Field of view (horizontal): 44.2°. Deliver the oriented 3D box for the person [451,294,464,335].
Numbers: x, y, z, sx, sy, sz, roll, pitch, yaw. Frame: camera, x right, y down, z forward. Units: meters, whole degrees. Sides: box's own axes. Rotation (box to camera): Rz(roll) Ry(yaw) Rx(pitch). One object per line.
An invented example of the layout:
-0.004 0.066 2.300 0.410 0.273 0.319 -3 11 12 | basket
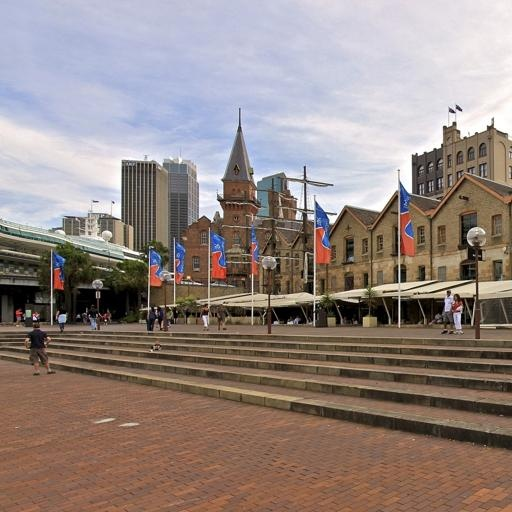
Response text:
6.654 1.872 20.801 0.309 1.302 0.815 -2 -6 18 | person
